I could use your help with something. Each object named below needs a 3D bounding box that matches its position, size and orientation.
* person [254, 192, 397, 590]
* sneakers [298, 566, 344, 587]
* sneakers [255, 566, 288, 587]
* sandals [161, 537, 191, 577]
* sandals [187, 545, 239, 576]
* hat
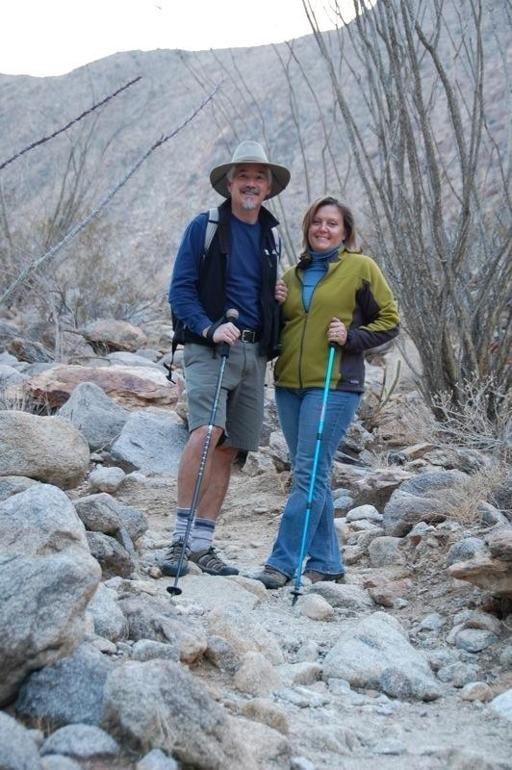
[{"bbox_3d":[0.368,0.018,3.960,0.680,2.025,0.514,10,-1,4],"label":"person"},{"bbox_3d":[0.358,1.027,3.926,0.251,0.105,0.083,4,-6,-14],"label":"sneakers"},{"bbox_3d":[0.080,0.979,3.729,0.164,0.103,0.179,9,-2,8],"label":"sneakers"},{"bbox_3d":[-0.395,0.853,3.569,0.076,0.093,0.219,11,-3,-3],"label":"sandals"},{"bbox_3d":[-0.218,0.912,3.839,0.102,0.123,0.303,2,-2,-44],"label":"sandals"},{"bbox_3d":[-0.022,-1.248,4.293,0.464,0.209,0.454,5,-22,-7],"label":"hat"}]
